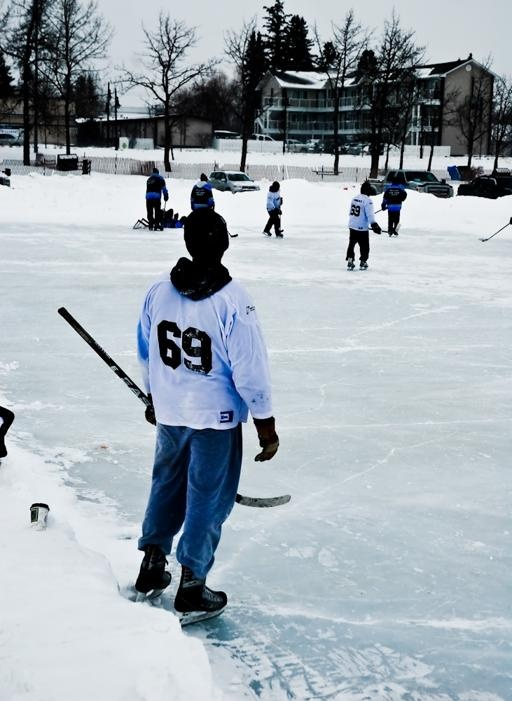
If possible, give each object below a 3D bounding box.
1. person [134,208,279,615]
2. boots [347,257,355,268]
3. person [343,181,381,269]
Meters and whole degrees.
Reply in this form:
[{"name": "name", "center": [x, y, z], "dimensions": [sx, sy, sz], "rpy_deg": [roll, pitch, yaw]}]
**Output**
[{"name": "person", "center": [-0.214, 0.235, 2.929], "dimensions": [0.610, 1.192, 0.338], "rpy_deg": [15, 5, 1]}, {"name": "boots", "center": [1.552, -1.410, 13.364], "dimensions": [0.114, 0.107, 0.180], "rpy_deg": [-1, 8, 5]}, {"name": "person", "center": [1.709, -2.020, 13.337], "dimensions": [0.524, 1.328, 0.741], "rpy_deg": [0, 2, 5]}]
